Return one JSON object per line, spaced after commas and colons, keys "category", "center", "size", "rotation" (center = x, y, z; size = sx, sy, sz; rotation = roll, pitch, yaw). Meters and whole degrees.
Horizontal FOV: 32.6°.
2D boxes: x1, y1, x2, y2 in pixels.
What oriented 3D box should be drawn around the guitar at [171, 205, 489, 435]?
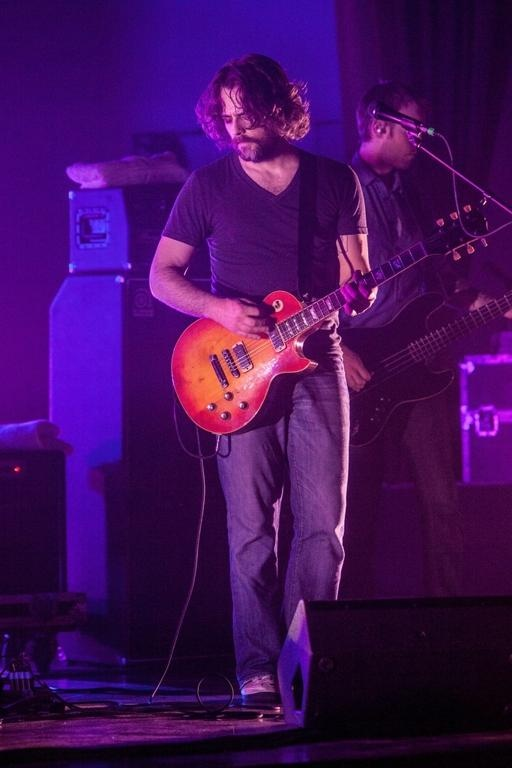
{"category": "guitar", "center": [0.254, -0.192, 3.010], "size": [0.990, 0.343, 0.131], "rotation": [-28, -7, 6]}
